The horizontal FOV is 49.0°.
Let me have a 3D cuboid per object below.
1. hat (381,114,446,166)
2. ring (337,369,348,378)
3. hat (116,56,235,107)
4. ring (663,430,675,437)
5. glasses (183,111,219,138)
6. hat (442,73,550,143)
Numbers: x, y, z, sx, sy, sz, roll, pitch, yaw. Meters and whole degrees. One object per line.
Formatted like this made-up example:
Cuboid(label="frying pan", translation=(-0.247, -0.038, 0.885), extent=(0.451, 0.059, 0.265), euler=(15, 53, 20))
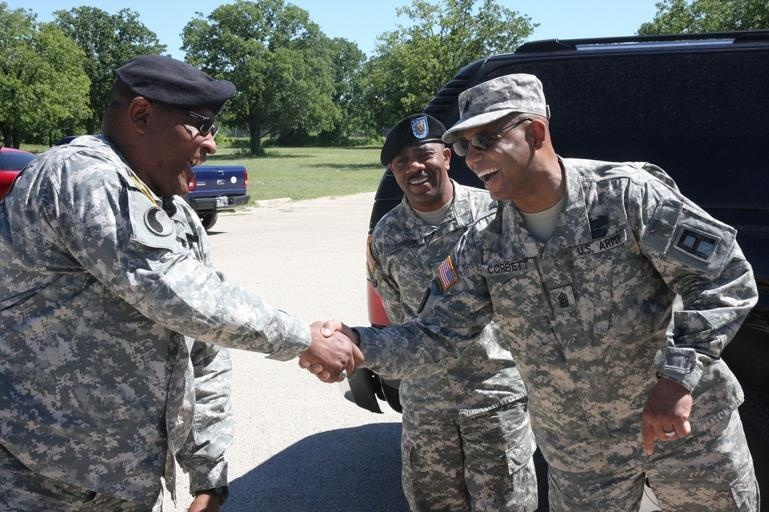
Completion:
Cuboid(label="hat", translation=(0.151, -0.628, 4.605), extent=(0.420, 0.162, 0.447), euler=(-10, -3, -13))
Cuboid(label="ring", translation=(-0.193, 0.547, 3.897), extent=(0.023, 0.047, 0.082), euler=(18, -10, 14))
Cuboid(label="hat", translation=(-0.872, -0.746, 3.577), extent=(0.526, 0.174, 0.433), euler=(0, 22, -17))
Cuboid(label="ring", translation=(1.144, 0.714, 3.373), extent=(0.061, 0.030, 0.019), euler=(-1, 3, -39))
Cuboid(label="glasses", translation=(-0.751, -0.546, 3.497), extent=(0.102, 0.030, 0.095), euler=(17, 4, 18))
Cuboid(label="hat", translation=(0.499, -0.688, 3.844), extent=(0.545, 0.187, 0.390), euler=(-13, 7, -22))
